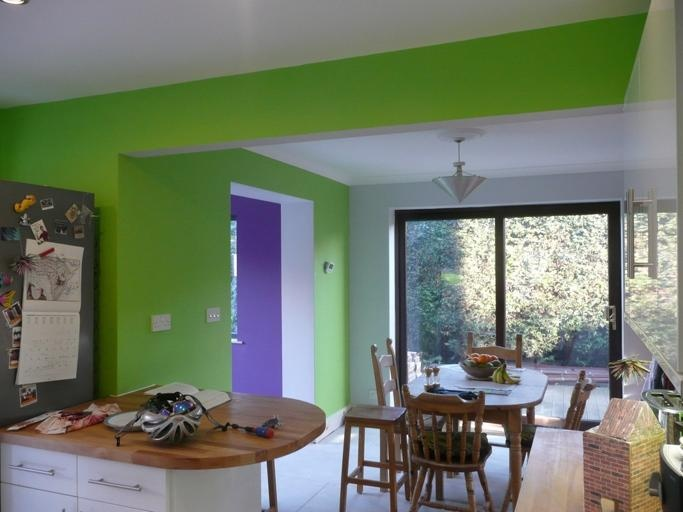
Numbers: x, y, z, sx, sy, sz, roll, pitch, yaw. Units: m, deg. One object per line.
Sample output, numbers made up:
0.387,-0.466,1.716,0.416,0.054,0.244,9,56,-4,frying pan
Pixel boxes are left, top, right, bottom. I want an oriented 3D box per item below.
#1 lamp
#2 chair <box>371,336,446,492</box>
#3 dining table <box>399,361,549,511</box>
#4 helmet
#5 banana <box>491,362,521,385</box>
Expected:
1.131,-0.816,4.927,0.443,0.559,0.463,1,-4,-7,lamp
0.607,1.265,5.142,0.855,1.645,0.817,-3,-4,18,chair
1.156,1.365,4.223,0.833,0.913,1.347,-2,-8,18,dining table
-0.801,0.770,2.491,0.288,0.180,0.208,-2,5,-19,helmet
1.329,0.946,4.271,0.129,0.138,0.203,16,-4,-19,banana
